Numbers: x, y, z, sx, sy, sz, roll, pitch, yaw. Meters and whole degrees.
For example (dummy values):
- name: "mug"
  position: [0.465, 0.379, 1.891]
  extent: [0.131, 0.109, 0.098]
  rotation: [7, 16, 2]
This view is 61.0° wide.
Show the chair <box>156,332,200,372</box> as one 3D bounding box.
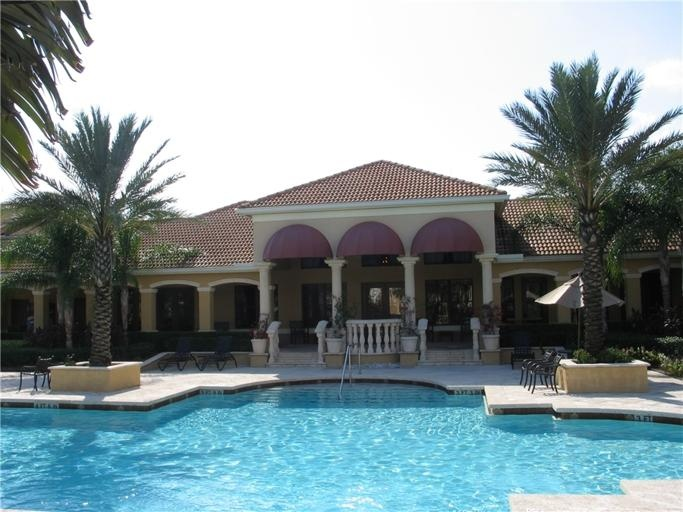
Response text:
- name: "chair"
  position: [-8.130, 4.922, 29.220]
  extent: [1.121, 1.340, 2.147]
  rotation: [1, 6, 16]

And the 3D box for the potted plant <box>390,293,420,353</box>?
- name: "potted plant"
  position: [3.298, 3.336, 28.796]
  extent: [0.937, 2.531, 2.084]
  rotation: [-2, 0, 7]

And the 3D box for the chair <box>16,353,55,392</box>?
- name: "chair"
  position: [-12.529, 5.064, 23.657]
  extent: [0.955, 1.050, 0.953]
  rotation: [-4, 5, 2]

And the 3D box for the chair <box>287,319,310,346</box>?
- name: "chair"
  position: [-2.717, 4.763, 35.832]
  extent: [1.288, 1.894, 1.379]
  rotation: [1, -11, -4]
